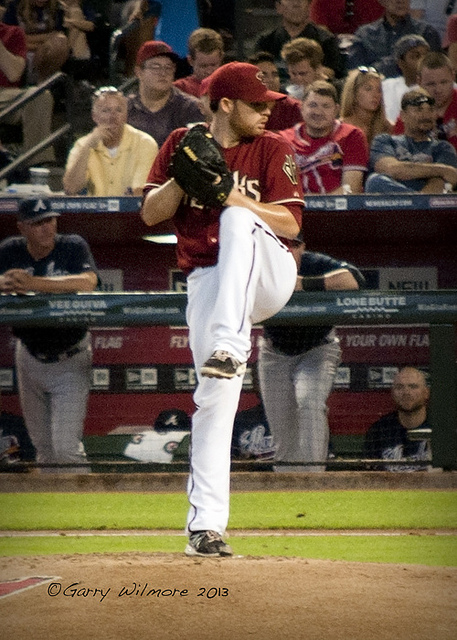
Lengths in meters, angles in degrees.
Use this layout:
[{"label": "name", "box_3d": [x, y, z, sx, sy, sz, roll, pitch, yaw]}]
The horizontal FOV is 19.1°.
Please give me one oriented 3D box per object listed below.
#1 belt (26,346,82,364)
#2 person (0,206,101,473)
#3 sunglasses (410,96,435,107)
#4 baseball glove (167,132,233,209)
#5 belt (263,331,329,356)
[{"label": "belt", "box_3d": [-0.893, 0.182, 7.021, 0.278, 0.083, 0.076, 0, 1, -5]}, {"label": "person", "box_3d": [-0.935, 0.069, 7.137, 0.540, 1.377, 0.807, -1, 1, -6]}, {"label": "sunglasses", "box_3d": [1.200, -1.328, 8.273, 0.162, 0.057, 0.076, -1, 1, -28]}, {"label": "baseball glove", "box_3d": [-0.121, -0.625, 5.736, 0.276, 0.329, 0.129, -19, -19, -2]}, {"label": "belt", "box_3d": [0.375, 0.136, 6.958, 0.278, 0.088, 0.075, 0, 1, 0]}]
